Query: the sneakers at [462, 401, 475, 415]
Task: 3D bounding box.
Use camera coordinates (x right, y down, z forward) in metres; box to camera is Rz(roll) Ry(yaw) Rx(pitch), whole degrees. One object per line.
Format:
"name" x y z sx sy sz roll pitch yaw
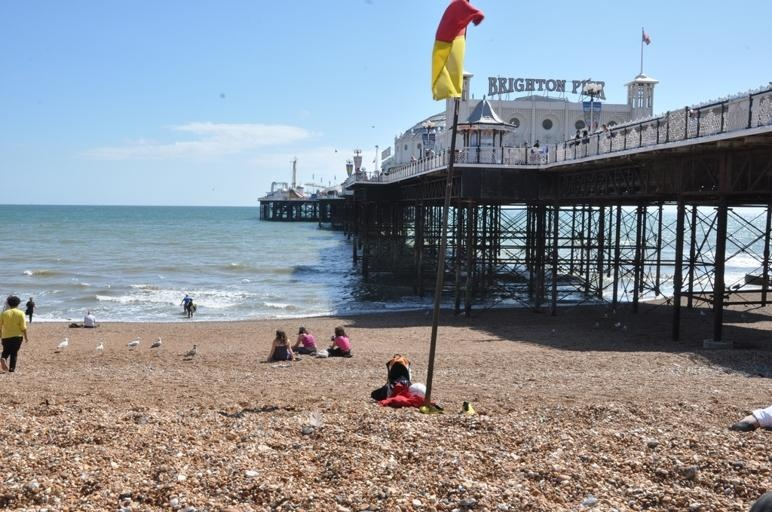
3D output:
"sneakers" 1.912 3.522 20.161 0.238 0.234 0.246 -1 11 13

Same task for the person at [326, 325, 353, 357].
"person" -1.435 2.639 27.097 0.872 0.994 0.909 -3 20 -16

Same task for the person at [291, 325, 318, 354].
"person" -2.367 2.665 27.321 0.722 0.825 0.887 0 4 -27
